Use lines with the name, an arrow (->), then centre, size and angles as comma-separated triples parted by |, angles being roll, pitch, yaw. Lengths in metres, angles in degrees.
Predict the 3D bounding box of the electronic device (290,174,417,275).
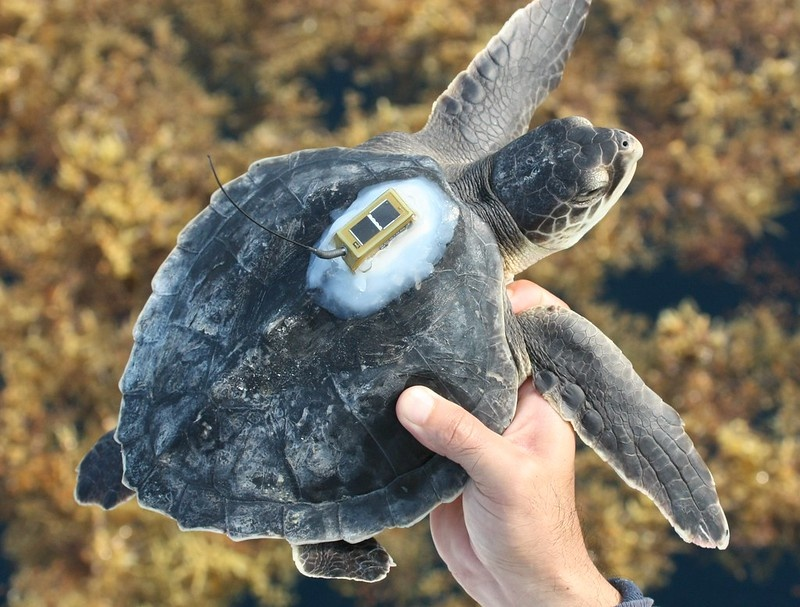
electronic device -> -0.244, -0.538, 10.810 | 0.419, 0.198, 0.775 | 44, 86, 8
